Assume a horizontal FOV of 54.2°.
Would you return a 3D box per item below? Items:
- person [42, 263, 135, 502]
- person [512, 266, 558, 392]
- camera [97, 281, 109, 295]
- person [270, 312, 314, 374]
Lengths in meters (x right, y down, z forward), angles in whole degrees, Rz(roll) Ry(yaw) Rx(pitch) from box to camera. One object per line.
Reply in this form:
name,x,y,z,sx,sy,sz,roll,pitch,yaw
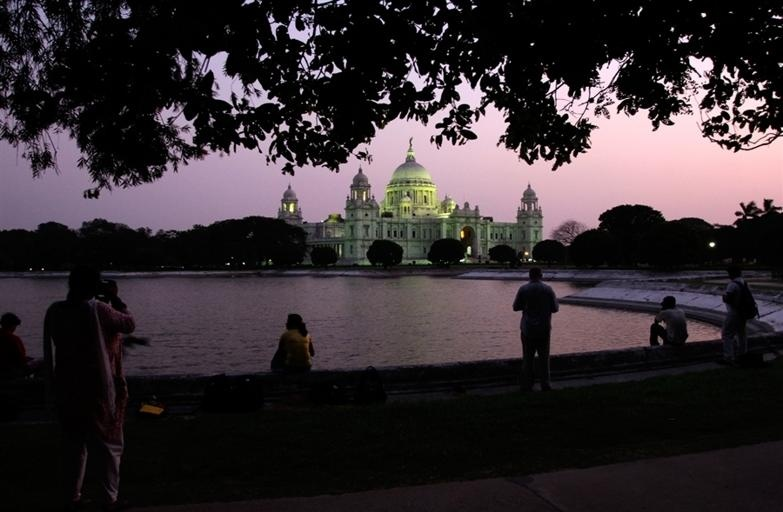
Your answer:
person,-4.001,1.693,10.036,1.022,3.094,0.735,-2,2,-12
person,2.703,1.354,14.368,0.771,2.232,0.552,-1,2,10
camera,-4.043,0.452,10.706,0.170,0.172,0.169,9,16,3
person,-1.944,1.688,14.863,0.795,1.028,0.982,-2,2,-9
